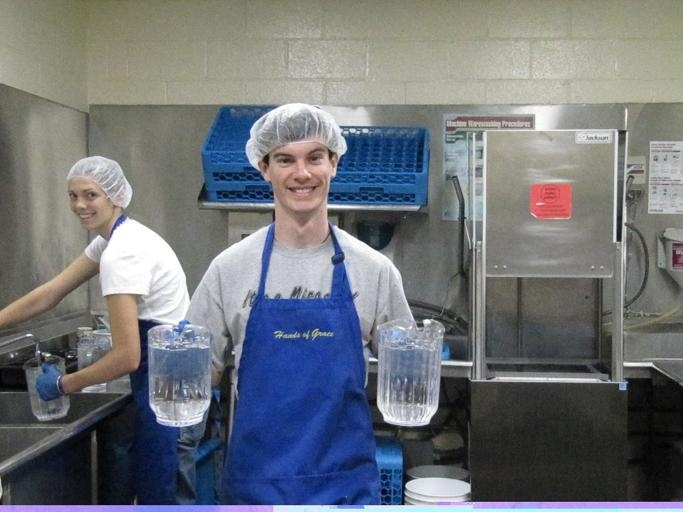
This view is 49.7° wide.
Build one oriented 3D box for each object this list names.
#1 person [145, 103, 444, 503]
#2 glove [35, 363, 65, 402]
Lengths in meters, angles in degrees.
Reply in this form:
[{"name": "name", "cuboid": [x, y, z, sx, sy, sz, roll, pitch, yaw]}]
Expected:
[{"name": "person", "cuboid": [-0.158, 0.177, 2.743, 0.816, 1.479, 0.404, -1, 5, 4]}, {"name": "glove", "cuboid": [-1.248, 0.538, 3.161, 0.113, 0.158, 0.151, 0, -5, -4]}]
